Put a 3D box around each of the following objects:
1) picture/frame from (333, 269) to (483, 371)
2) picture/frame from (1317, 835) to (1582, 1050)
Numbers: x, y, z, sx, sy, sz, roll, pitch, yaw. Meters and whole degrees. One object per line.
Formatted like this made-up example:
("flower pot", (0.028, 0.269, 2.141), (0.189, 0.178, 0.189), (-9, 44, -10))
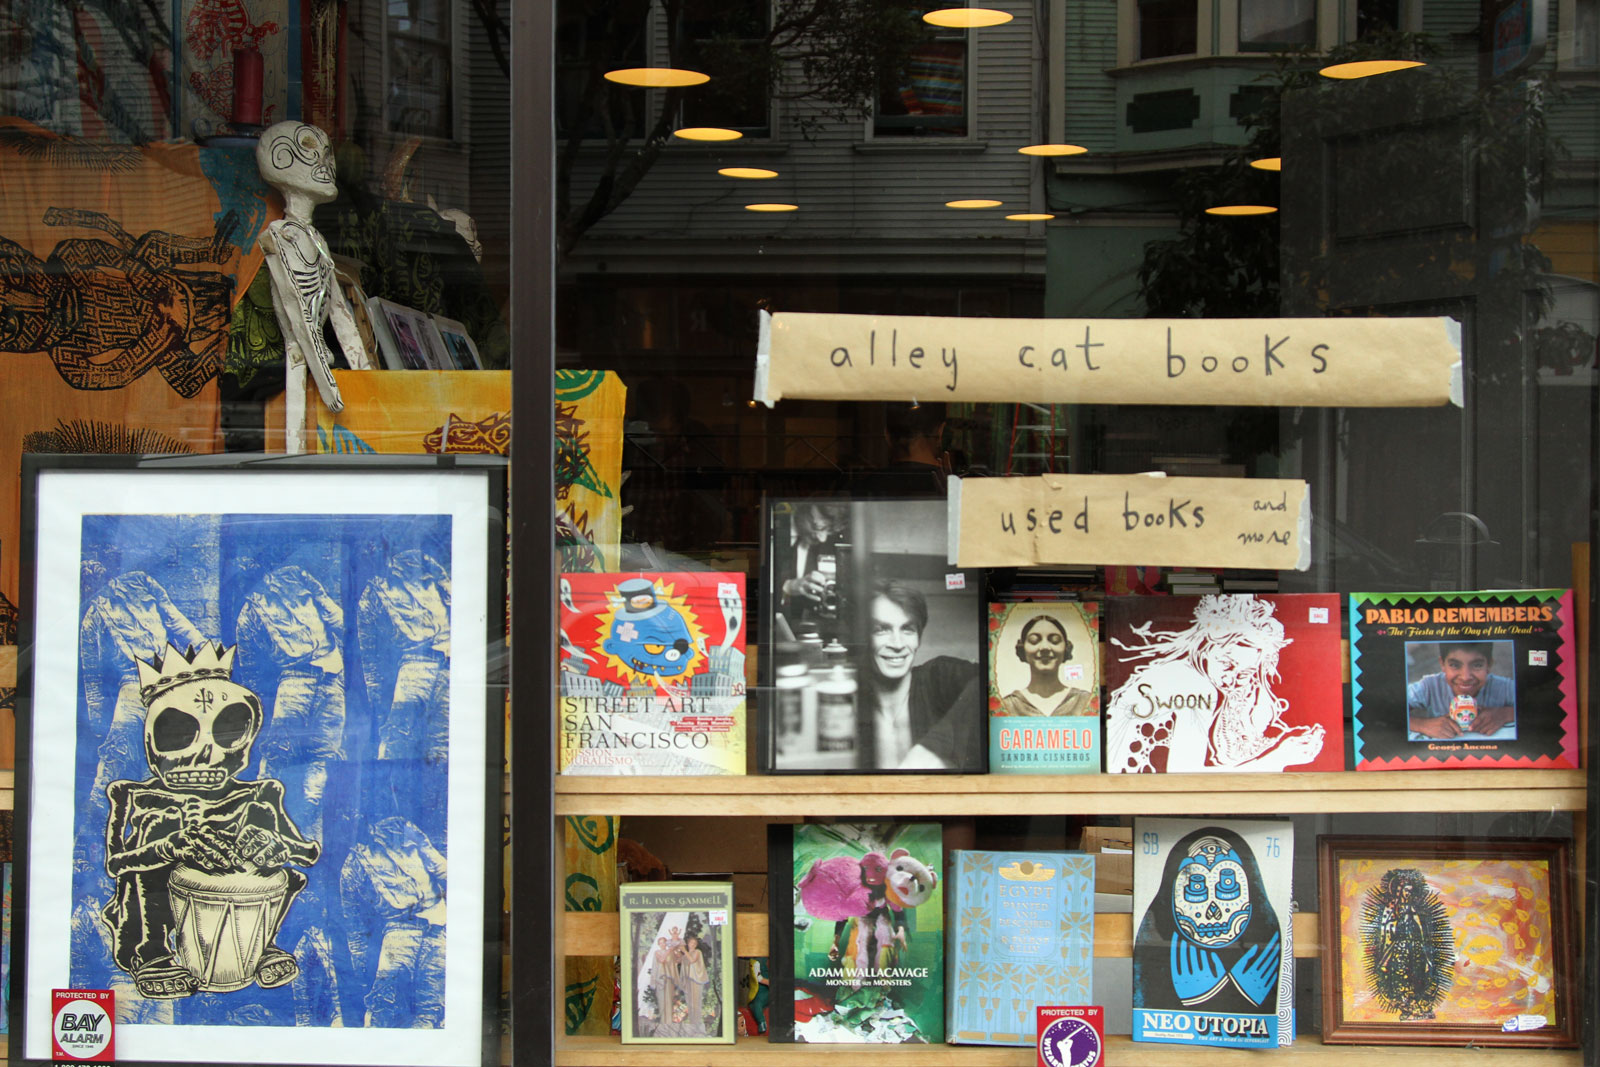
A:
("picture/frame", (-0.898, -0.444, 8.215), (0.220, 0.197, 0.059), (-7, -34, -21))
("picture/frame", (1.455, 0.916, 8.014), (0.453, 0.397, 0.051), (0, -8, -2))
